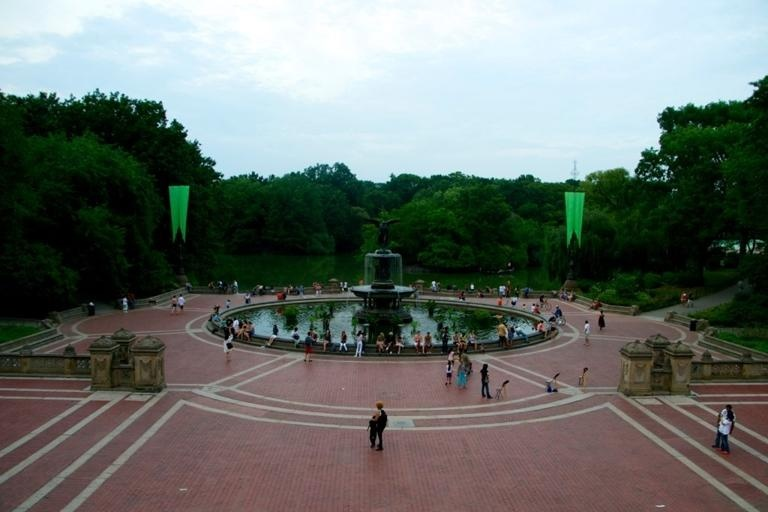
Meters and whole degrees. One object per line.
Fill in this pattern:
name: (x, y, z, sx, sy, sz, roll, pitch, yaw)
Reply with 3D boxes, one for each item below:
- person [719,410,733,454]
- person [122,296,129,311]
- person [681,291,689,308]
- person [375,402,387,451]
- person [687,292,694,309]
person: (14.531, 7.277, 26.728, 0.543, 1.907, 0.954, -1, 3, 43)
person: (-20.187, 3.697, 49.281, 0.450, 0.847, 0.751, -3, 2, -22)
person: (25.004, 3.547, 52.617, 0.812, 0.932, 1.520, 3, 13, 21)
person: (-0.130, 7.023, 26.664, 0.418, 2.118, 1.430, -3, 2, -2)
person: (25.309, 3.683, 52.266, 0.845, 0.933, 1.510, 2, 11, 22)
